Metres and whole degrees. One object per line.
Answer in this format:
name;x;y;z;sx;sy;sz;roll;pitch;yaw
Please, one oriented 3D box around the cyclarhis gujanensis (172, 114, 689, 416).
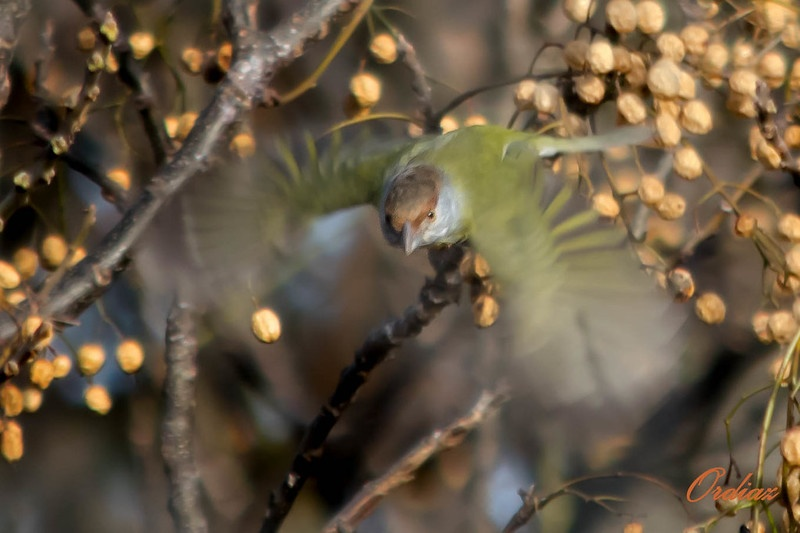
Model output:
cyclarhis gujanensis;0.156;-0.016;3.999;0.840;0.402;0.764;-7;13;28
